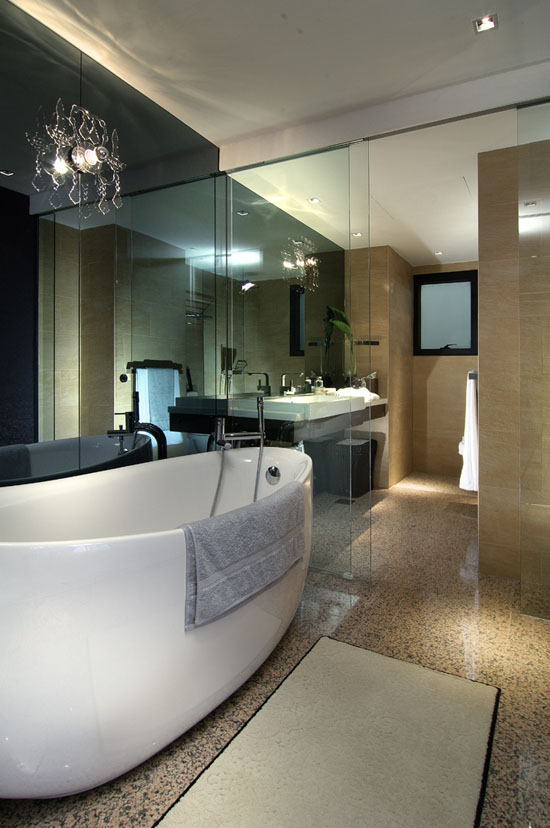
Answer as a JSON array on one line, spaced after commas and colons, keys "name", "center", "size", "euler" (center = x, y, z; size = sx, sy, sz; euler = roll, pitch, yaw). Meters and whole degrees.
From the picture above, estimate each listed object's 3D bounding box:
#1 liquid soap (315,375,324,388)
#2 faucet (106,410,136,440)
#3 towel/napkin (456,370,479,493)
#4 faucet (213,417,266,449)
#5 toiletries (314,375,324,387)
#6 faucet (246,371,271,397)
[{"name": "liquid soap", "center": [0.228, -0.165, 3.084], "size": [0.047, 0.053, 0.048], "euler": [-1, 3, -25]}, {"name": "faucet", "center": [-0.765, 0.057, 2.955], "size": [0.054, 0.155, 0.144], "euler": [-5, -10, 32]}, {"name": "towel/napkin", "center": [1.168, 0.114, 3.566], "size": [0.096, 0.734, 0.387], "euler": [1, 4, 17]}, {"name": "faucet", "center": [-0.179, 0.110, 3.175], "size": [0.240, 0.177, 0.425], "euler": [0, 5, 1]}, {"name": "toiletries", "center": [0.231, -0.175, 3.083], "size": [0.046, 0.058, 0.049], "euler": [0, -1, 25]}, {"name": "faucet", "center": [-0.069, -0.174, 3.323], "size": [0.093, 0.161, 0.124], "euler": [-3, -7, 44]}]
